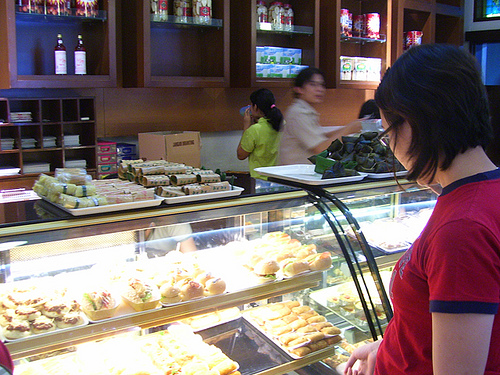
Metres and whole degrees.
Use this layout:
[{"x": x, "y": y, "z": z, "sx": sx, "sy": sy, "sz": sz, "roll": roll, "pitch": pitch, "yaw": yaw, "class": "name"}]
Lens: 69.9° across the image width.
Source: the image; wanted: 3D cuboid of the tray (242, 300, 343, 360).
[{"x": 0.179, "y": 0.587, "z": 1.469, "sx": 0.268, "sy": 0.027, "sz": 0.259, "roll": -3, "pitch": 11, "yaw": -35, "class": "tray"}]

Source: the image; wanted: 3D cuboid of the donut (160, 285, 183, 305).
[{"x": -0.269, "y": 0.357, "z": 1.207, "sx": 0.061, "sy": 0.034, "sz": 0.059, "roll": 3, "pitch": 7, "yaw": 13, "class": "donut"}]

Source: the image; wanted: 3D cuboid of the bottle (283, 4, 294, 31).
[{"x": 0.421, "y": -1.838, "z": 3.895, "sx": 0.108, "sy": 0.291, "sz": 0.220, "roll": -4, "pitch": 14, "yaw": 8, "class": "bottle"}]

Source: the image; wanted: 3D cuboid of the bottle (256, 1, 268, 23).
[{"x": 0.116, "y": -1.801, "z": 3.704, "sx": 0.045, "sy": 0.204, "sz": 0.157, "roll": 7, "pitch": 18, "yaw": 40, "class": "bottle"}]

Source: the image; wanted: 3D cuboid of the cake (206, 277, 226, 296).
[{"x": -0.122, "y": 0.348, "z": 1.287, "sx": 0.048, "sy": 0.045, "sz": 0.061, "roll": 5, "pitch": 9, "yaw": 34, "class": "cake"}]

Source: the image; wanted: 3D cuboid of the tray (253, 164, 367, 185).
[{"x": 0.300, "y": -0.067, "z": 1.821, "sx": 0.337, "sy": 0.054, "sz": 0.497, "roll": -14, "pitch": 17, "yaw": -33, "class": "tray"}]

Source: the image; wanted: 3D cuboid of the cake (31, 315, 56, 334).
[{"x": -0.626, "y": 0.402, "z": 1.065, "sx": 0.049, "sy": 0.014, "sz": 0.046, "roll": 6, "pitch": 16, "yaw": -4, "class": "cake"}]

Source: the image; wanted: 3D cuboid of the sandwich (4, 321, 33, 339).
[{"x": -0.677, "y": 0.412, "z": 1.037, "sx": 0.066, "sy": 0.035, "sz": 0.057, "roll": -14, "pitch": 17, "yaw": -34, "class": "sandwich"}]

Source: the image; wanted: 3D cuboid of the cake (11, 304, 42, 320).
[{"x": -0.692, "y": 0.379, "z": 1.090, "sx": 0.090, "sy": 0.025, "sz": 0.048, "roll": 1, "pitch": 15, "yaw": 22, "class": "cake"}]

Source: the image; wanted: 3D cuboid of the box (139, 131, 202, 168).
[{"x": -0.642, "y": -0.336, "z": 2.966, "sx": 0.386, "sy": 0.347, "sz": 0.387, "roll": 9, "pitch": 13, "yaw": 42, "class": "box"}]

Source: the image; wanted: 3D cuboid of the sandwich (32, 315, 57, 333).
[{"x": -0.623, "y": 0.405, "z": 1.070, "sx": 0.058, "sy": 0.031, "sz": 0.057, "roll": -15, "pitch": 17, "yaw": -35, "class": "sandwich"}]

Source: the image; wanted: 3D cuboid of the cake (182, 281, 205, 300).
[{"x": -0.199, "y": 0.358, "z": 1.250, "sx": 0.079, "sy": 0.051, "sz": 0.041, "roll": -10, "pitch": 15, "yaw": -18, "class": "cake"}]

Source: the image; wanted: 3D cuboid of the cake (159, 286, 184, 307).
[{"x": -0.271, "y": 0.366, "z": 1.206, "sx": 0.063, "sy": 0.035, "sz": 0.061, "roll": 2, "pitch": 5, "yaw": 19, "class": "cake"}]

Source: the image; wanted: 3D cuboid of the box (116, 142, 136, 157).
[{"x": -1.194, "y": -0.360, "z": 3.431, "sx": 0.164, "sy": 0.117, "sz": 0.153, "roll": -8, "pitch": 14, "yaw": -11, "class": "box"}]

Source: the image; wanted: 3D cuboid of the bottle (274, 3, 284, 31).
[{"x": 0.309, "y": -1.800, "z": 3.807, "sx": 0.138, "sy": 0.279, "sz": 0.086, "roll": -8, "pitch": 14, "yaw": -10, "class": "bottle"}]

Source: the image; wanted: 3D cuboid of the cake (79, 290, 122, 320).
[{"x": -0.478, "y": 0.352, "z": 1.126, "sx": 0.091, "sy": 0.051, "sz": 0.105, "roll": 2, "pitch": 2, "yaw": -8, "class": "cake"}]

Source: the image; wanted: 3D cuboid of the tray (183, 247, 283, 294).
[{"x": -0.118, "y": 0.311, "z": 1.413, "sx": 0.203, "sy": 0.003, "sz": 0.222, "roll": -2, "pitch": 22, "yaw": -35, "class": "tray"}]

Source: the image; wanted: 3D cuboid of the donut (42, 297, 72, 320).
[{"x": -0.613, "y": 0.372, "z": 1.109, "sx": 0.057, "sy": 0.019, "sz": 0.055, "roll": -4, "pitch": 20, "yaw": -27, "class": "donut"}]

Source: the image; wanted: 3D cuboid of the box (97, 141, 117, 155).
[{"x": -1.333, "y": -0.354, "z": 3.281, "sx": 0.181, "sy": 0.114, "sz": 0.119, "roll": -13, "pitch": 16, "yaw": -30, "class": "box"}]

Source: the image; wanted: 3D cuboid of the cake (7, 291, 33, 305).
[{"x": -0.730, "y": 0.345, "z": 1.130, "sx": 0.070, "sy": 0.028, "sz": 0.046, "roll": -7, "pitch": 14, "yaw": -10, "class": "cake"}]

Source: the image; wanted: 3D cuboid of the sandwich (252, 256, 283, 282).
[{"x": 0.087, "y": 0.330, "z": 1.449, "sx": 0.114, "sy": 0.062, "sz": 0.123, "roll": -11, "pitch": 1, "yaw": -10, "class": "sandwich"}]

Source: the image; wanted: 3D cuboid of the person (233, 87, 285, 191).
[{"x": 0.087, "y": -0.536, "z": 3.297, "sx": 0.360, "sy": 0.700, "sz": 0.598, "roll": -14, "pitch": 16, "yaw": -30, "class": "person"}]

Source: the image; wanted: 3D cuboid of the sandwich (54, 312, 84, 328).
[{"x": -0.558, "y": 0.400, "z": 1.092, "sx": 0.078, "sy": 0.032, "sz": 0.040, "roll": -13, "pitch": 16, "yaw": -29, "class": "sandwich"}]
